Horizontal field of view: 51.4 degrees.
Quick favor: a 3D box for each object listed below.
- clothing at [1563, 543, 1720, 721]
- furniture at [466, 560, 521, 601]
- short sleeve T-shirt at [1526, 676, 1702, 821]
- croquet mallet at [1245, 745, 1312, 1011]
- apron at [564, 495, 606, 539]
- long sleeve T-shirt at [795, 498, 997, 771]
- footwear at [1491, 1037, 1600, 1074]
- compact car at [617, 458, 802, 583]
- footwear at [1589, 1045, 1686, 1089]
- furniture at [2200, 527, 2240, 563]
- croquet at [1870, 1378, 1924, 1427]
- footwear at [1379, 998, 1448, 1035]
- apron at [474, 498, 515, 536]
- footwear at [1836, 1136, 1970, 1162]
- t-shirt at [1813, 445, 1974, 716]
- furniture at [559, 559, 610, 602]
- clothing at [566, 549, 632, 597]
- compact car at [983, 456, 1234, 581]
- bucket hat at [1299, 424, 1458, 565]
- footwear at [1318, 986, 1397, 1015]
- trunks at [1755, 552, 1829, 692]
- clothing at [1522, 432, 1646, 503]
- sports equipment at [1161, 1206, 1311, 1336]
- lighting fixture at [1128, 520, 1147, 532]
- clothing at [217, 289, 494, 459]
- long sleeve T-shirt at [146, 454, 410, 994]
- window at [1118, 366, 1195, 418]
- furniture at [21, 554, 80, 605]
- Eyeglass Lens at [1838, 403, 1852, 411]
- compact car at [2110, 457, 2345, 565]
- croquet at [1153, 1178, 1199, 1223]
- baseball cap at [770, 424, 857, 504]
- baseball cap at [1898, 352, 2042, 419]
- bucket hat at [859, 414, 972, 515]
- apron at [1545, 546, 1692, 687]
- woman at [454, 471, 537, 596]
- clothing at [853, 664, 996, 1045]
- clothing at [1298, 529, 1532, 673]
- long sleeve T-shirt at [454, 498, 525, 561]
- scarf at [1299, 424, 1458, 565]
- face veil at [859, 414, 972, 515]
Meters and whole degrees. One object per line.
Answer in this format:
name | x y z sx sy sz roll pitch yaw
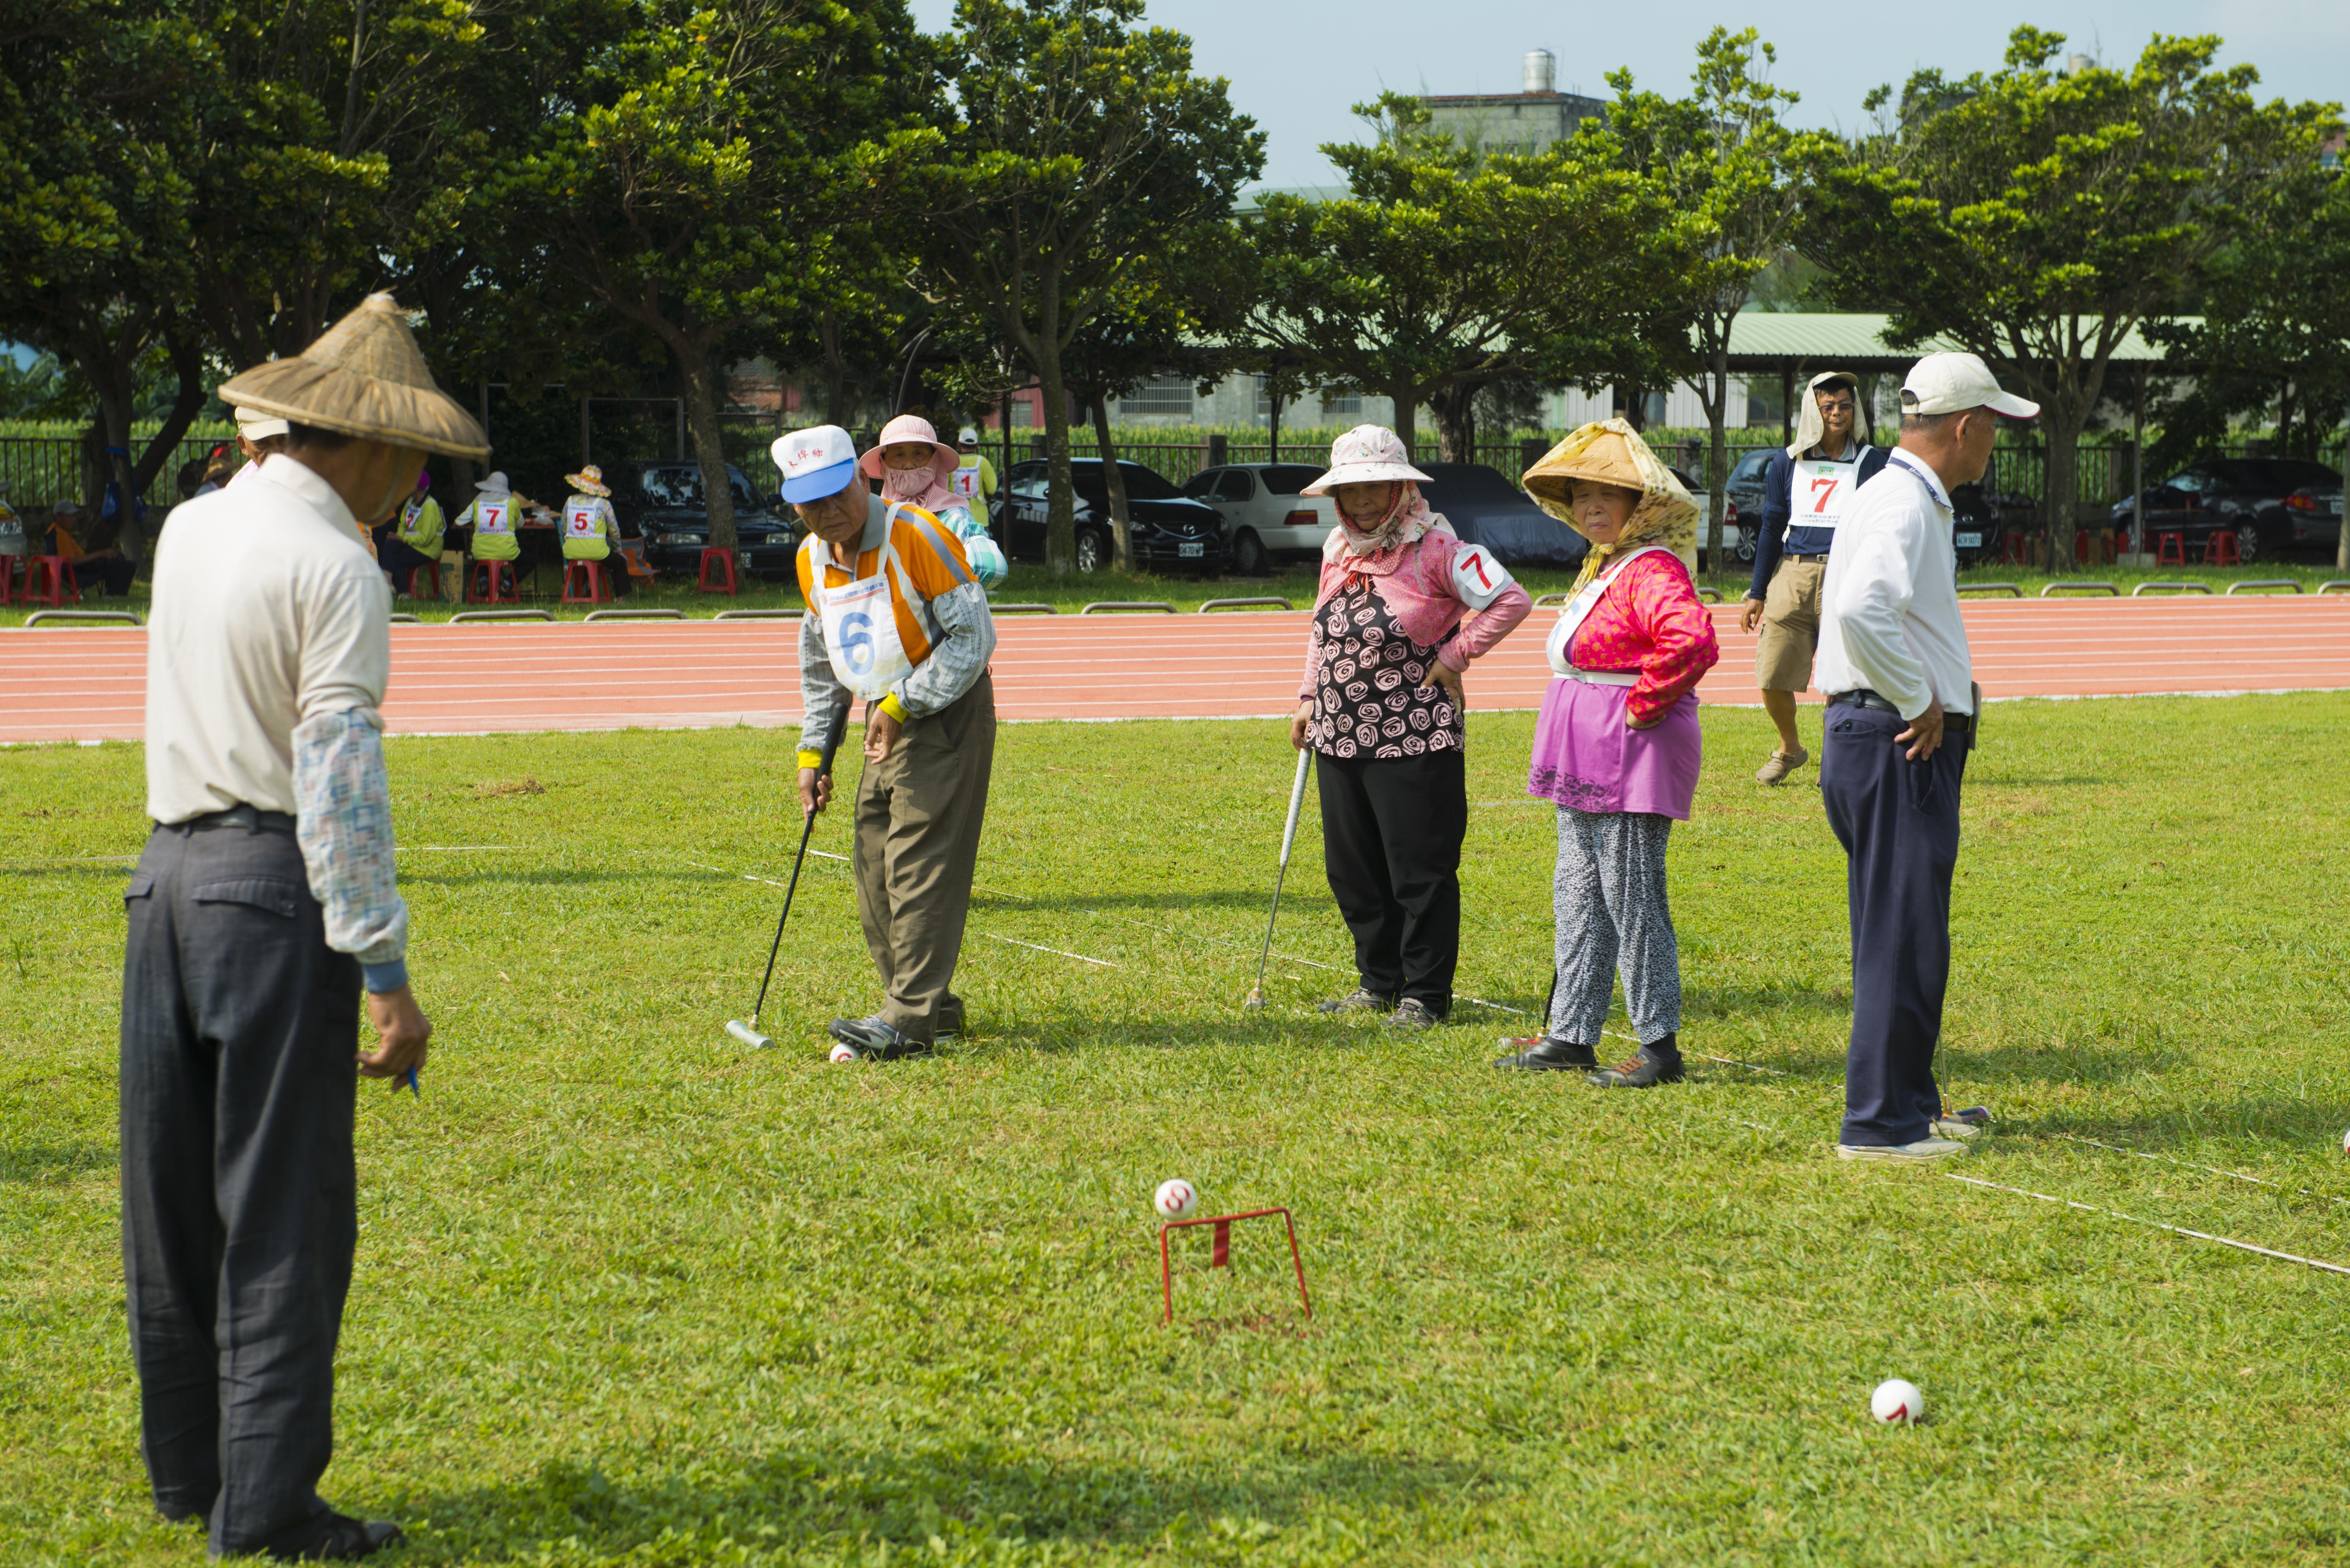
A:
clothing | 1.690 -0.558 8.813 0.480 0.697 0.889 3 14 -1
furniture | -7.636 -2.239 27.516 0.548 0.489 0.556 6 10 28
short sleeve T-shirt | 1.580 -0.123 8.712 0.531 0.456 0.316 16 -1 36
croquet mallet | 0.482 0.467 11.312 0.124 1.115 0.123 21 -10 -28
apron | -6.457 -2.903 26.794 0.475 0.476 0.270 1 0 -6
long sleeve T-shirt | -1.095 -0.548 9.114 0.467 1.061 0.867 -13 19 -41
footwear | 1.347 0.963 8.808 0.337 0.115 0.152 2 -4 -3
compact car | -6.238 -3.198 31.468 1.756 1.239 2.917 -4 11 -26
footwear | 1.638 0.999 8.685 0.369 0.150 0.145 -4 -5 -17
furniture | 16.126 -3.661 37.612 0.530 0.688 0.520 -7 8 -22
croquet | 1.929 1.649 6.526 0.132 0.083 0.082 3 15 10
footwear | 0.909 0.874 9.280 0.196 0.077 0.202 4 15 14
apron | -7.279 -2.835 26.084 0.387 0.380 0.219 0 -12 -12
footwear | 2.373 1.199 7.955 0.384 0.134 0.147 -2 -3 0
t-shirt | 2.402 -0.626 8.188 0.573 0.970 1.090 6 6 9
furniture | -6.706 -2.264 27.671 0.625 0.590 0.615 -1 -1 -9
clothing | -6.643 -2.296 27.780 0.480 0.473 0.493 1 -4 -4
compact car | -0.912 -3.828 35.440 1.646 1.352 3.913 -5 8 -35
bucket hat | 0.791 -1.101 9.391 0.545 0.508 0.547 -5 4 17
footwear | 0.707 0.842 9.503 0.300 0.125 0.113 1 -5 0
trunks | 3.547 -0.890 13.709 0.527 0.739 0.321 7 12 6
clothing | 1.512 -1.138 8.709 0.308 0.169 0.297 -5 6 -42
sports equipment | 0.175 1.305 7.115 0.428 0.345 0.508 0 14 -1
lighting fixture | -0.487 -3.580 34.293 0.321 0.188 0.087 11 18 36
clothing | -2.025 -0.972 6.066 0.503 0.274 0.509 19 0 19
long sleeve T-shirt | -2.211 -0.347 5.958 0.602 0.860 0.342 3 14 10
window | -0.495 -8.884 56.668 2.043 0.929 1.409 5 15 19
furniture | -12.051 -2.174 26.175 0.651 0.638 0.640 1 0 -14
Eyeglass Lens | 3.501 -1.954 12.701 0.039 0.042 0.015 0 -1 9
compact car | 16.590 -4.186 37.877 2.688 1.492 1.267 8 16 26
croquet | 0.003 1.206 7.130 0.132 0.137 0.074 -21 17 9
baseball cap | -1.263 -1.171 8.730 0.250 0.172 0.324 -20 10 12
baseball cap | 2.602 -1.300 8.004 0.420 0.223 0.260 -10 13 -15
bucket hat | -1.132 -1.381 10.874 0.506 0.462 0.520 -6 -9 0
apron | 1.546 -0.589 8.836 0.360 0.498 0.406 18 8 16
woman | -7.379 -2.700 26.405 0.742 1.293 0.673 6 12 -4
clothing | -0.962 0.301 9.203 0.444 1.545 0.646 5 -16 -22
clothing | 0.863 -0.633 9.478 0.999 0.773 0.513 1 3 30
long sleeve T-shirt | -7.392 -2.738 26.305 0.790 0.832 0.665 2 7 9
scarf | 0.789 -1.105 9.388 0.557 0.524 0.546 -5 6 23
face veil | -1.143 -1.350 10.821 0.506 0.462 0.520 -6 -9 0
